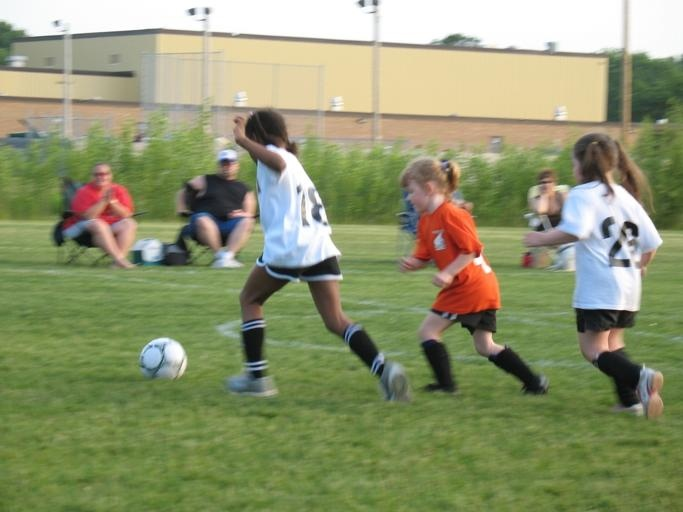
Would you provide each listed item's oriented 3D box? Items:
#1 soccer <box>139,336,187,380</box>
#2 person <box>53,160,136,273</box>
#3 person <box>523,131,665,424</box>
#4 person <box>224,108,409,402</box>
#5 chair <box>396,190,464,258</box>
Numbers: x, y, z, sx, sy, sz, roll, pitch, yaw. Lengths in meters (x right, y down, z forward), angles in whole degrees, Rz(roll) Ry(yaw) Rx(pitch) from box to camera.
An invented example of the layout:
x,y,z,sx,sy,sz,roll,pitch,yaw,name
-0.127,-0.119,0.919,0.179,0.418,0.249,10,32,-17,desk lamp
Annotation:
x,y,z,sx,sy,sz,roll,pitch,yaw,name
-1.150,0.668,5.019,0.285,0.245,0.165,-1,7,-13,soccer
-2.944,-0.489,9.355,0.907,1.283,0.686,-2,7,-16,person
1.462,0.070,4.434,0.770,1.573,0.605,3,7,18,person
-0.206,-0.016,4.575,1.091,1.722,0.463,1,7,5,person
1.027,-0.242,7.742,0.607,0.208,0.686,-17,-30,14,chair
